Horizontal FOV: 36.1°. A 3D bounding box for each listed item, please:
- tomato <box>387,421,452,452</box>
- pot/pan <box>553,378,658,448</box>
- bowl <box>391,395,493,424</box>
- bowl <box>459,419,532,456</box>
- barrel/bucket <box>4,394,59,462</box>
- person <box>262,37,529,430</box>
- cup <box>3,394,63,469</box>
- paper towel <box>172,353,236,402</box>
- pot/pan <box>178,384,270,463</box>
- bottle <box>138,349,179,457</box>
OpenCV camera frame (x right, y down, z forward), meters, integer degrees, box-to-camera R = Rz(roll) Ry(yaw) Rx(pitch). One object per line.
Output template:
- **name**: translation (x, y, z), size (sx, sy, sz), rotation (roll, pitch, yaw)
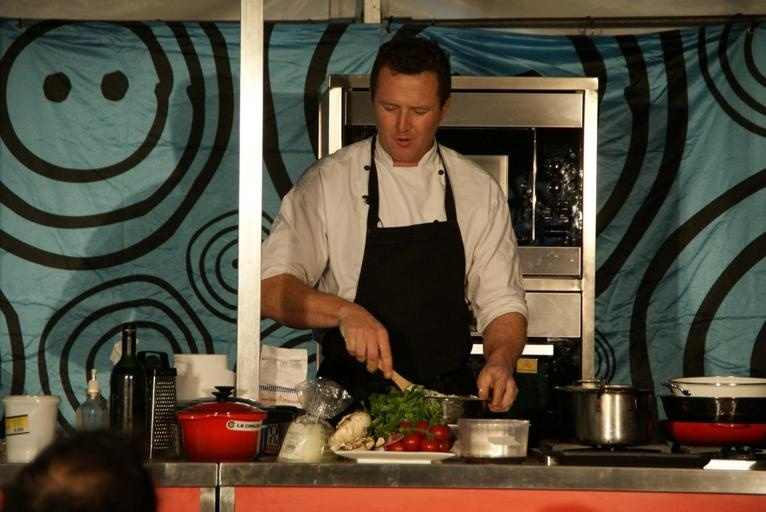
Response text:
- **tomato**: translation (0.144, 0.708, 4.546), size (0.209, 0.078, 0.113), rotation (2, 34, -14)
- **pot/pan**: translation (0.880, 0.632, 4.729), size (0.304, 0.174, 0.295), rotation (-1, -7, 2)
- **bowl**: translation (0.327, 0.616, 4.714), size (0.146, 0.115, 0.351), rotation (-8, -10, 38)
- **bowl**: translation (0.419, 0.740, 4.626), size (0.332, 0.157, 0.333), rotation (-1, -10, 0)
- **barrel/bucket**: translation (-1.322, 0.652, 4.411), size (0.209, 0.225, 0.215), rotation (1, -9, 0)
- **person**: translation (0.054, -0.136, 5.085), size (1.127, 1.623, 0.618), rotation (-1, -8, -7)
- **cup**: translation (-1.323, 0.683, 4.694), size (0.329, 0.341, 0.314), rotation (1, -7, 0)
- **paper towel**: translation (-0.745, 0.498, 4.852), size (0.200, 0.192, 0.205), rotation (0, -4, 2)
- **pot/pan**: translation (-0.620, 0.676, 4.637), size (0.321, 0.222, 0.288), rotation (0, -13, 1)
- **bottle**: translation (-0.895, 0.593, 4.690), size (0.153, 0.433, 0.250), rotation (0, -8, -13)
